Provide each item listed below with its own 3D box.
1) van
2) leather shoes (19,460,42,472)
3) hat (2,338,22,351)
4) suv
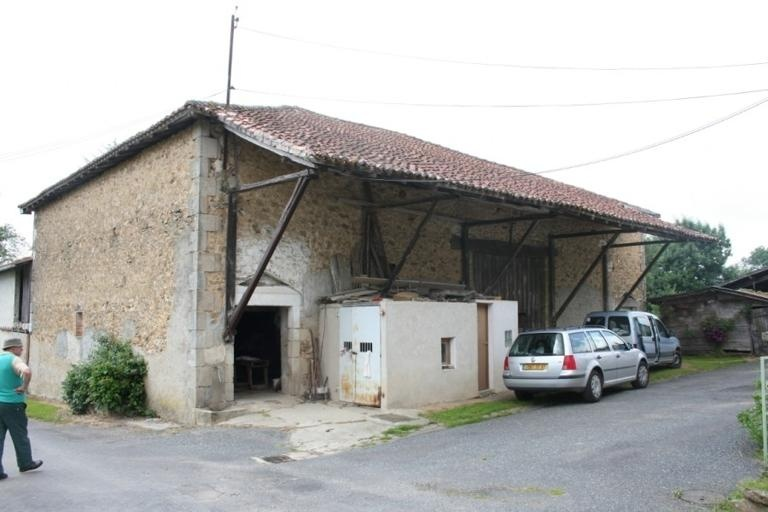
[{"bbox_3d":[7.531,2.388,20.841,3.107,1.489,1.781,2,-4,-43],"label":"van"},{"bbox_3d":[-6.272,3.736,12.317,0.358,0.154,0.127,-15,19,-42],"label":"leather shoes"},{"bbox_3d":[-6.874,1.648,12.827,0.416,0.180,0.463,-5,-10,-21],"label":"hat"},{"bbox_3d":[4.757,2.590,16.756,3.230,1.156,1.561,0,-5,-45],"label":"suv"}]
